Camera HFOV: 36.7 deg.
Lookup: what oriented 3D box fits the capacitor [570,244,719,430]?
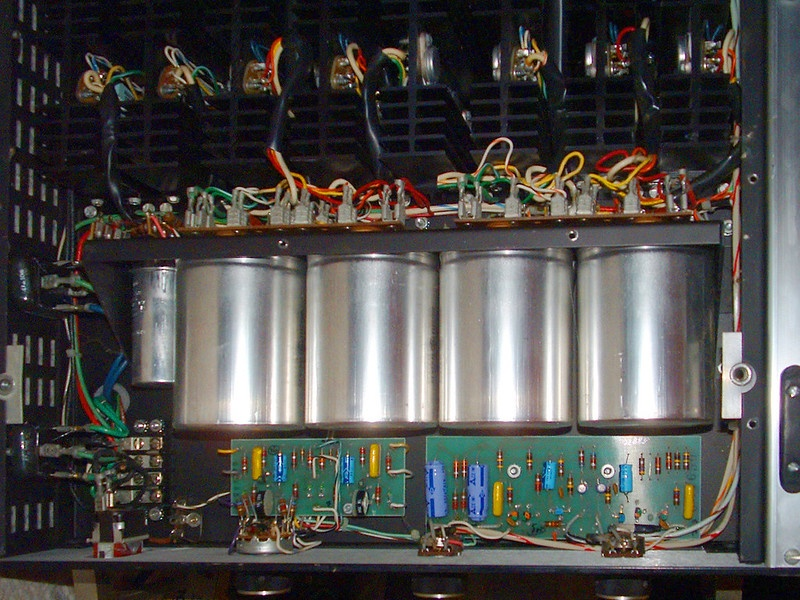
[{"bbox_3d":[0.852,0.119,4.078,0.502,0.603,0.218,-4,-7,12],"label":"capacitor"}]

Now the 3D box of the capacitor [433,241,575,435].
[{"bbox_3d":[0.366,0.140,4.040,0.564,0.623,0.557,-2,-8,20],"label":"capacitor"}]

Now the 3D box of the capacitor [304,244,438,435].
[{"bbox_3d":[-0.094,0.134,4.119,0.466,0.592,0.146,-1,-7,-6],"label":"capacitor"}]

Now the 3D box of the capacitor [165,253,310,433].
[{"bbox_3d":[-0.587,0.137,4.295,0.465,0.607,0.363,1,2,-3],"label":"capacitor"}]
